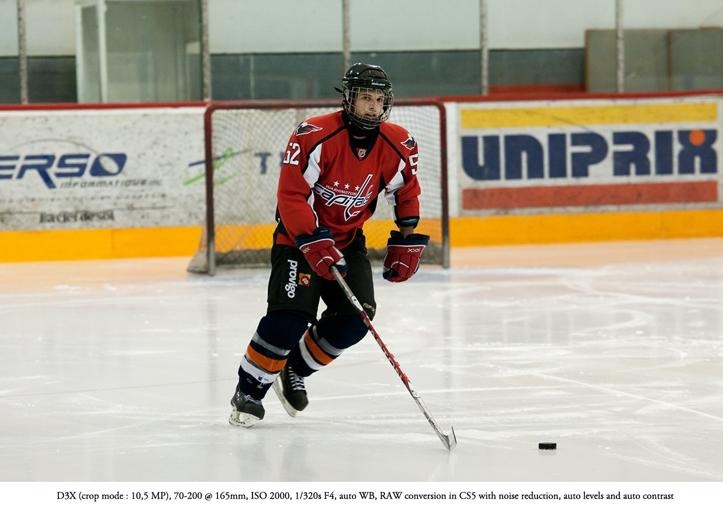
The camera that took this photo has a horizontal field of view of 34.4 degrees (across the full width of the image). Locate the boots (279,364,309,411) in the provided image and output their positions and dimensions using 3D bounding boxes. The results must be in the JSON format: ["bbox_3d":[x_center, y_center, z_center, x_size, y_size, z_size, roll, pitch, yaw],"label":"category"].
[{"bbox_3d":[-0.338,0.668,5.886,0.089,0.263,0.108,-1,-35,-43],"label":"boots"}]

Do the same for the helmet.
[{"bbox_3d":[0.047,-0.792,5.875,0.335,0.280,0.320,-1,6,-28],"label":"helmet"}]
